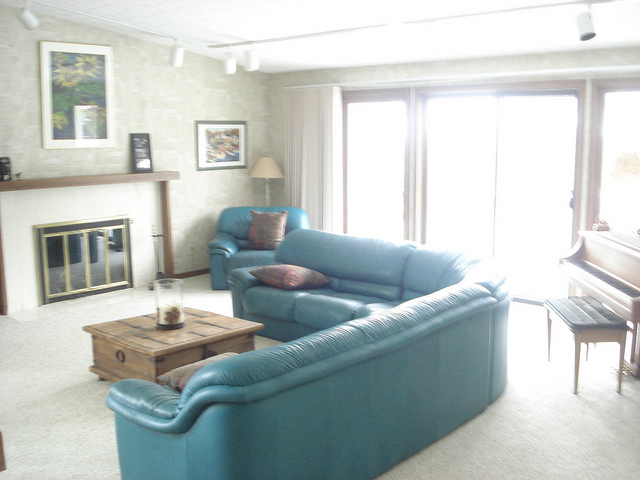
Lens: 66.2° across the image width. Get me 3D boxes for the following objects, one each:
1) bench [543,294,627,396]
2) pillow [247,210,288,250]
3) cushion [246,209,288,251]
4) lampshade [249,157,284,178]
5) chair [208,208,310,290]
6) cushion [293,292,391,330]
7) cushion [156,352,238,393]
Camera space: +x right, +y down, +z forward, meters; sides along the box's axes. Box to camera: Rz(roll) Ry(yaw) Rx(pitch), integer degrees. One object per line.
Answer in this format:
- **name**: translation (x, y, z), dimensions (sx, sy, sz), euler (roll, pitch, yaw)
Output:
- **bench**: translation (2.190, 0.881, 4.045), dimensions (0.626, 0.509, 0.837), euler (-1, 10, 2)
- **pillow**: translation (-0.721, -0.122, 6.715), dimensions (0.768, 0.586, 0.269), euler (0, -19, 10)
- **cushion**: translation (-0.724, -0.119, 6.715), dimensions (0.767, 0.563, 0.259), euler (2, -22, 11)
- **lampshade**: translation (-0.809, -1.113, 7.566), dimensions (0.414, 0.312, 0.408), euler (-13, 19, -41)
- **chair**: translation (-0.758, 0.069, 6.833), dimensions (1.607, 0.881, 0.775), euler (-1, 30, 22)
- **cushion**: translation (0.157, 0.613, 4.527), dimensions (0.472, 0.126, 0.512), euler (-4, 6, -43)
- **cushion**: translation (-0.703, 0.784, 2.963), dimensions (0.412, 0.093, 0.396), euler (-12, 3, -31)
